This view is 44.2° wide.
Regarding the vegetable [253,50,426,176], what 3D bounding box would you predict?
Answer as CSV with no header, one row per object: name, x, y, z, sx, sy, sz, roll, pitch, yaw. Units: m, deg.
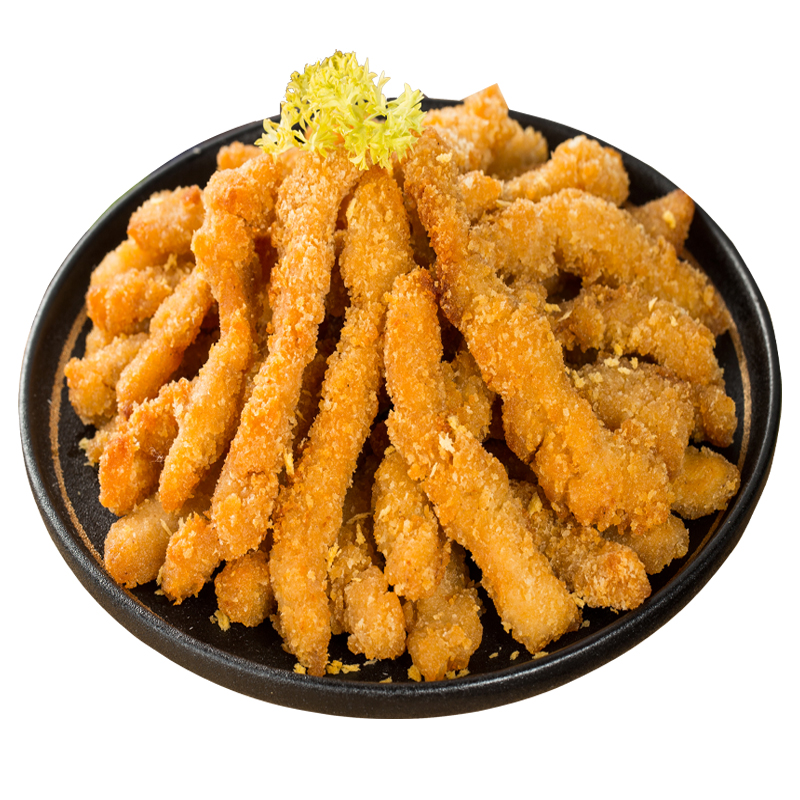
vegetable,-0.136,-0.770,2.769,0.451,0.246,0.354,-3,3,41
